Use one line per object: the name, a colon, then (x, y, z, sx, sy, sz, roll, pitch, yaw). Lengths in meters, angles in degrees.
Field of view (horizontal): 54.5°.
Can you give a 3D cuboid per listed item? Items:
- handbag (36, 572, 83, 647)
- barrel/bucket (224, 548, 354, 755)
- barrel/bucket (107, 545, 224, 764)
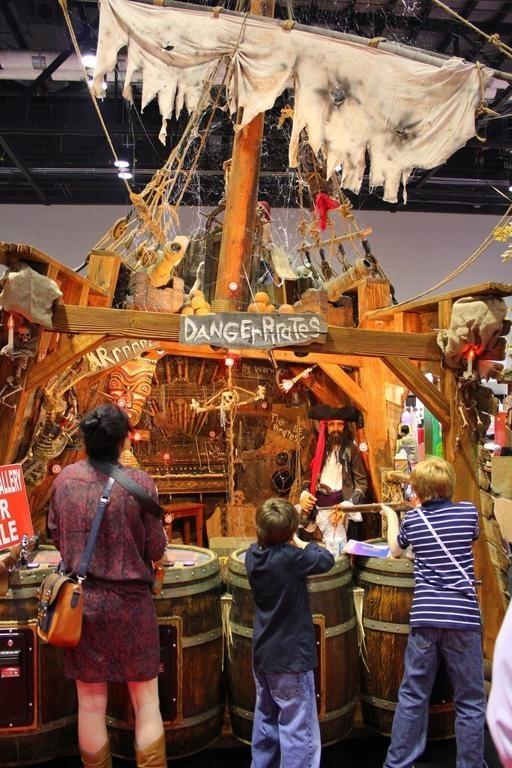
handbag: (-0.749, 0.853, 1.882, 0.114, 0.227, 0.226, 19, -18, -39)
barrel/bucket: (0.178, 1.445, 2.797, 0.689, 0.924, 0.678, -3, -5, 0)
barrel/bucket: (-0.325, 1.387, 2.890, 0.938, 1.036, 0.944, 0, -4, 0)
